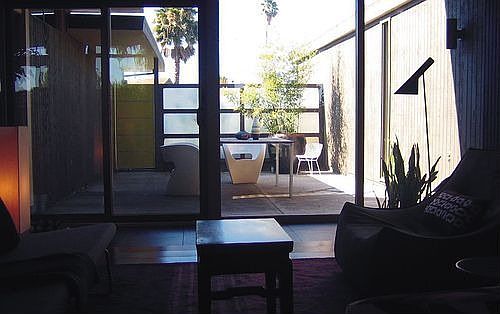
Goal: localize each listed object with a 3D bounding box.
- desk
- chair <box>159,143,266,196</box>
[{"bbox_3d":[0.182,0.225,7.650,1.256,0.774,1.169,-1,3,-2],"label":"desk"},{"bbox_3d":[-0.849,0.113,6.020,1.056,0.729,0.603,0,4,-8],"label":"chair"}]
